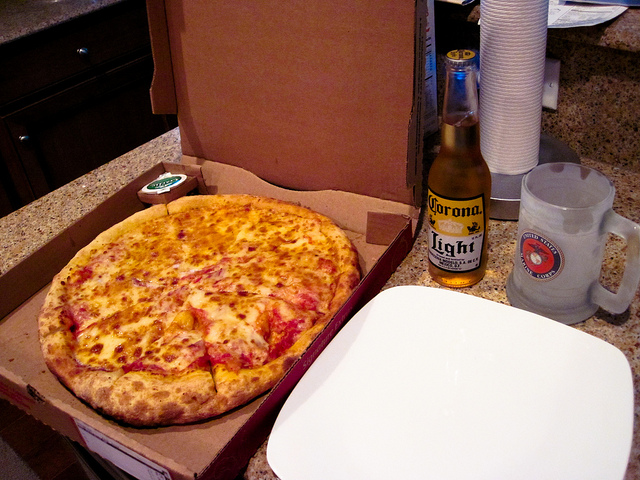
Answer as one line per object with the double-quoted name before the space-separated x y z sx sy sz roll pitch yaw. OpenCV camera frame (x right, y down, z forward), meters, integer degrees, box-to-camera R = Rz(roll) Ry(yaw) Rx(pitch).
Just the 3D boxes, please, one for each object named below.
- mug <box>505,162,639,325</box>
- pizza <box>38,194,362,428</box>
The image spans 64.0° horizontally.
"mug" 0.408 0.015 0.840 0.135 0.202 0.199 -26 41 -15
"pizza" -0.272 0.086 1.075 0.645 0.105 0.586 20 47 25
